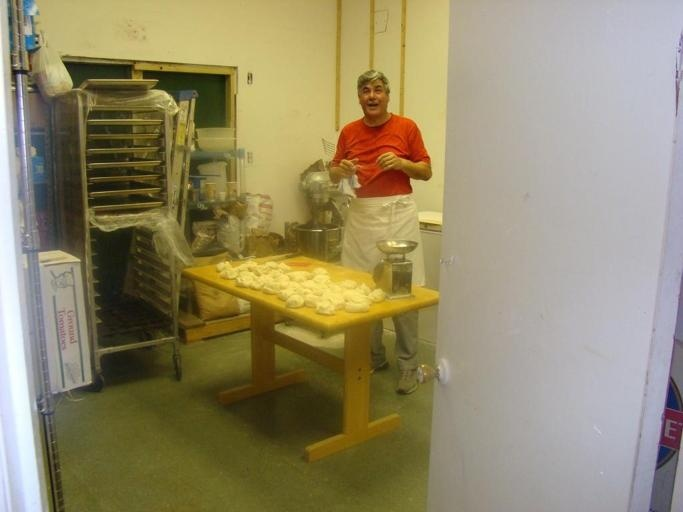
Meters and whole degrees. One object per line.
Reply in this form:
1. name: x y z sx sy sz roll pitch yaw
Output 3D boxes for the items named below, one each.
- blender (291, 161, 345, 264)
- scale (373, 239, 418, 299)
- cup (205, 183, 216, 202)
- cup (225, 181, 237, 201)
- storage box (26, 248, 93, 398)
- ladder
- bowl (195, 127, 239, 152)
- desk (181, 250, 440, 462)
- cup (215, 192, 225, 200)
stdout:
1. blender: -0.194 -0.400 5.152 0.464 0.991 0.418 -2 11 -10
2. scale: 0.234 0.037 2.650 0.245 0.339 0.243 -7 12 -32
3. cup: -1.085 -0.530 4.358 0.101 0.146 0.080 -9 15 -37
4. cup: -0.940 -0.555 4.561 0.115 0.205 0.124 3 8 0
5. storage box: -0.807 0.197 1.528 0.110 0.372 0.165 -6 14 -30
6. ladder: -1.281 -0.359 3.746 0.540 1.564 0.975 -5 13 -23
7. bowl: -1.072 -0.999 4.488 0.237 0.126 0.236 0 11 0
8. desk: -0.213 0.545 3.039 0.750 0.829 1.365 -9 14 -41
9. cup: -1.024 -0.508 4.427 0.079 0.060 0.042 -3 13 -14
